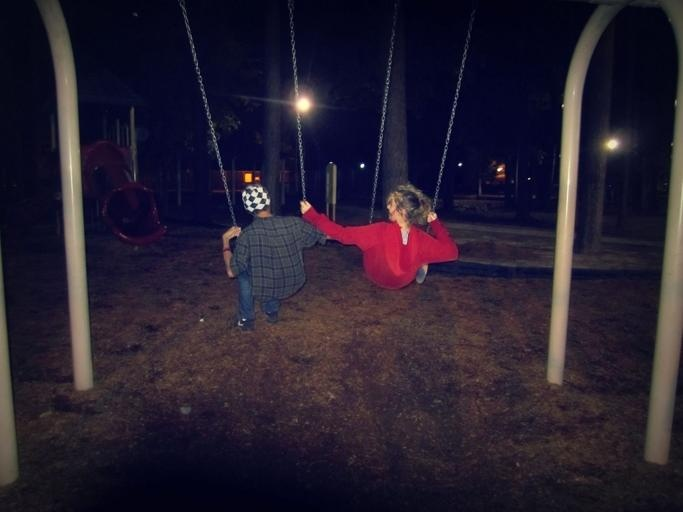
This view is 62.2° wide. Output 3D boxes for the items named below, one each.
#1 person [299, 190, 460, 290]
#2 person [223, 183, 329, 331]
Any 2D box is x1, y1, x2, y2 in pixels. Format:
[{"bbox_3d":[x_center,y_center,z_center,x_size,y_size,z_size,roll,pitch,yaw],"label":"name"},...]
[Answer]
[{"bbox_3d":[0.531,-0.360,6.686,1.352,1.223,0.935,3,10,-9],"label":"person"},{"bbox_3d":[-0.873,0.012,6.626,0.757,2.020,0.939,0,1,-1],"label":"person"}]
